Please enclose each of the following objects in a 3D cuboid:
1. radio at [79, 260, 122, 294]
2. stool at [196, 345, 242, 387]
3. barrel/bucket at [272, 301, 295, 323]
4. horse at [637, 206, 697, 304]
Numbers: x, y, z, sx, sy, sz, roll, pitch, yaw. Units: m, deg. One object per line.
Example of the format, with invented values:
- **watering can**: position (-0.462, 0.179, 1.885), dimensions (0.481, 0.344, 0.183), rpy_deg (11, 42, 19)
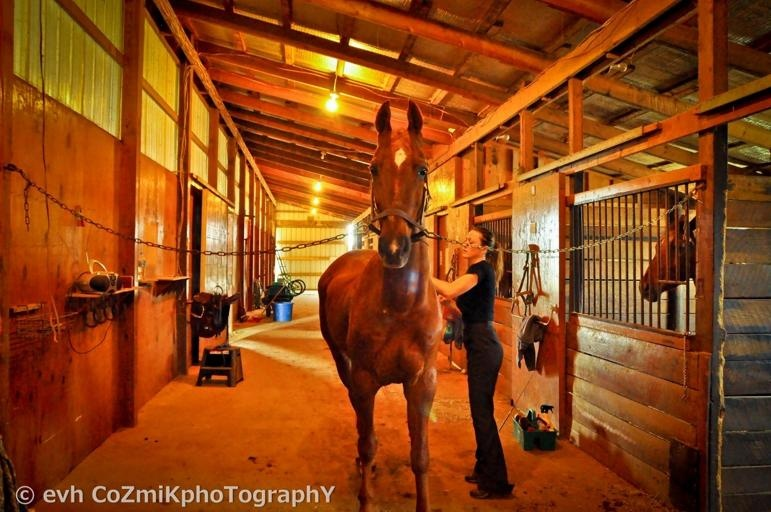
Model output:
- **radio**: position (-2.638, 0.186, 5.380), dimensions (0.264, 0.290, 0.282), rpy_deg (2, 2, -2)
- **stool**: position (-2.075, 1.358, 7.320), dimensions (0.518, 0.469, 0.431), rpy_deg (2, 9, 6)
- **barrel/bucket**: position (-2.205, 1.196, 12.425), dimensions (0.381, 0.332, 0.407), rpy_deg (4, -16, 1)
- **horse**: position (2.641, 0.017, 5.346), dimensions (0.481, 0.988, 0.489), rpy_deg (2, 18, -1)
